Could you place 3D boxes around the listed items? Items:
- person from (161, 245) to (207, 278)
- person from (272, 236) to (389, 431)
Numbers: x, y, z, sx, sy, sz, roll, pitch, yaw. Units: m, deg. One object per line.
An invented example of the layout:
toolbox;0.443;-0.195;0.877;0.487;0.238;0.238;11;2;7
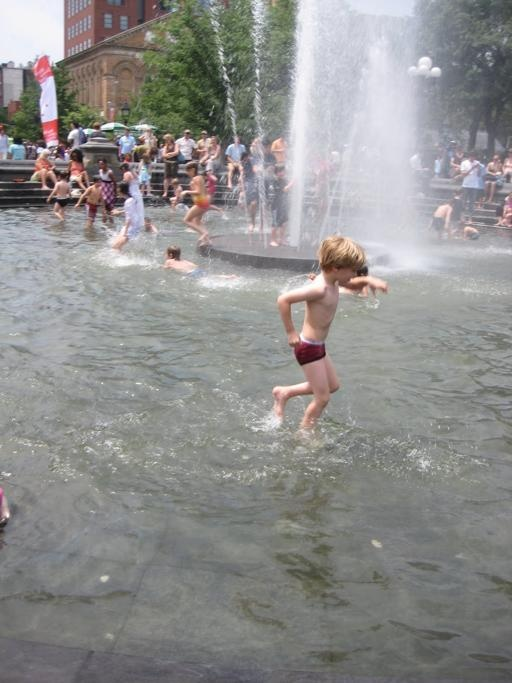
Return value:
person;-1.073;-1.186;10.547;0.756;0.295;0.425;29;31;34
person;0.441;-0.023;4.460;0.638;1.317;0.611;4;12;1
